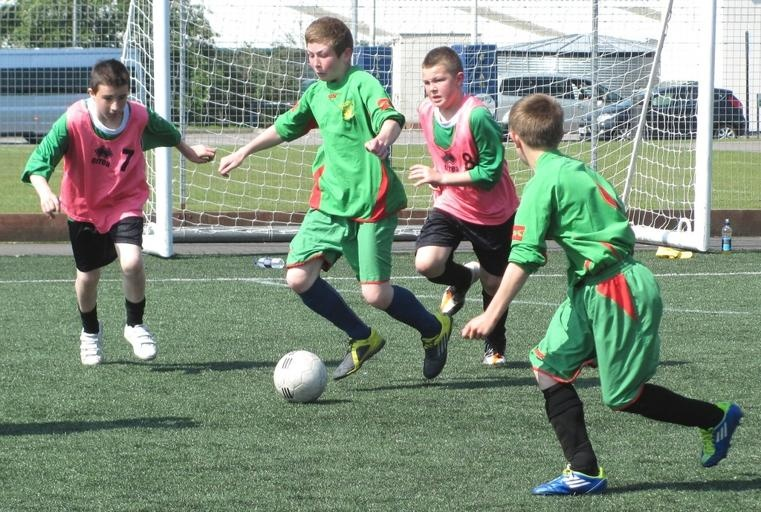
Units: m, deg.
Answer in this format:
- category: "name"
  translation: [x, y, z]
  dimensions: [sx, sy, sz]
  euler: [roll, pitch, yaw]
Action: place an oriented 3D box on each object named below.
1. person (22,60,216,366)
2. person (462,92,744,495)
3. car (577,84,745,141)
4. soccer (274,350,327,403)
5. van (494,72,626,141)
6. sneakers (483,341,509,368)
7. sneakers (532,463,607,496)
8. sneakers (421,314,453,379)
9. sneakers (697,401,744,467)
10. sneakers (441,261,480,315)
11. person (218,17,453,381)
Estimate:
- category: "person"
  translation: [-2.021, -0.304, 8.379]
  dimensions: [1.190, 2.283, 0.615]
  euler: [-3, 13, -18]
- category: "person"
  translation: [1.247, 0.288, 6.648]
  dimensions: [1.332, 2.281, 0.712]
  euler: [6, 13, 25]
- category: "car"
  translation: [3.837, -1.876, 14.685]
  dimensions: [1.808, 0.631, 1.016]
  euler: [0, 9, 2]
- category: "soccer"
  translation: [-0.554, 0.897, 7.942]
  dimensions: [0.352, 0.364, 0.343]
  euler: [11, -25, -9]
- category: "van"
  translation: [2.504, -1.849, 15.318]
  dimensions: [2.057, 1.028, 1.272]
  euler: [-6, 9, -2]
- category: "sneakers"
  translation: [0.876, 0.770, 8.659]
  dimensions: [0.116, 0.156, 0.229]
  euler: [1, -2, -23]
- category: "sneakers"
  translation: [1.164, 1.372, 6.820]
  dimensions: [0.503, 0.206, 0.171]
  euler: [-1, -5, -1]
- category: "sneakers"
  translation: [0.433, 0.701, 8.292]
  dimensions: [0.172, 0.517, 0.219]
  euler: [11, 6, 39]
- category: "sneakers"
  translation: [2.087, 1.113, 6.854]
  dimensions: [0.246, 0.474, 0.167]
  euler: [11, 10, -34]
- category: "sneakers"
  translation: [0.654, 0.280, 9.254]
  dimensions: [0.182, 0.509, 0.220]
  euler: [40, 17, 20]
- category: "person"
  translation: [-0.169, -0.396, 8.109]
  dimensions: [1.370, 2.559, 0.650]
  euler: [2, 12, 7]
